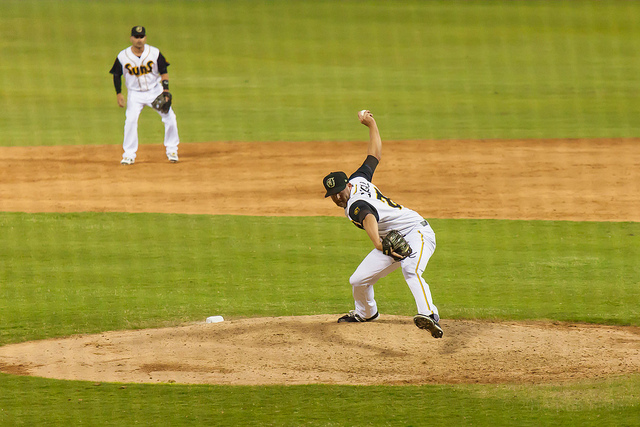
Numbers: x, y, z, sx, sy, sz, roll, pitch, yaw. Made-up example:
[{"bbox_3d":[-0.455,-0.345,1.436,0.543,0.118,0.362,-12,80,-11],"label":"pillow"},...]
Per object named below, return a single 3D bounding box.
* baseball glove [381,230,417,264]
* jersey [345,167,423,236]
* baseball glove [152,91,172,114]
[{"bbox_3d":[1.598,0.640,27.516,0.489,0.645,0.302,-45,3,-28],"label":"baseball glove"},{"bbox_3d":[1.439,-0.234,29.899,2.097,0.609,1.587,17,27,-12],"label":"jersey"},{"bbox_3d":[-3.828,-2.788,34.355,0.239,0.373,0.568,36,-54,-21],"label":"baseball glove"}]
